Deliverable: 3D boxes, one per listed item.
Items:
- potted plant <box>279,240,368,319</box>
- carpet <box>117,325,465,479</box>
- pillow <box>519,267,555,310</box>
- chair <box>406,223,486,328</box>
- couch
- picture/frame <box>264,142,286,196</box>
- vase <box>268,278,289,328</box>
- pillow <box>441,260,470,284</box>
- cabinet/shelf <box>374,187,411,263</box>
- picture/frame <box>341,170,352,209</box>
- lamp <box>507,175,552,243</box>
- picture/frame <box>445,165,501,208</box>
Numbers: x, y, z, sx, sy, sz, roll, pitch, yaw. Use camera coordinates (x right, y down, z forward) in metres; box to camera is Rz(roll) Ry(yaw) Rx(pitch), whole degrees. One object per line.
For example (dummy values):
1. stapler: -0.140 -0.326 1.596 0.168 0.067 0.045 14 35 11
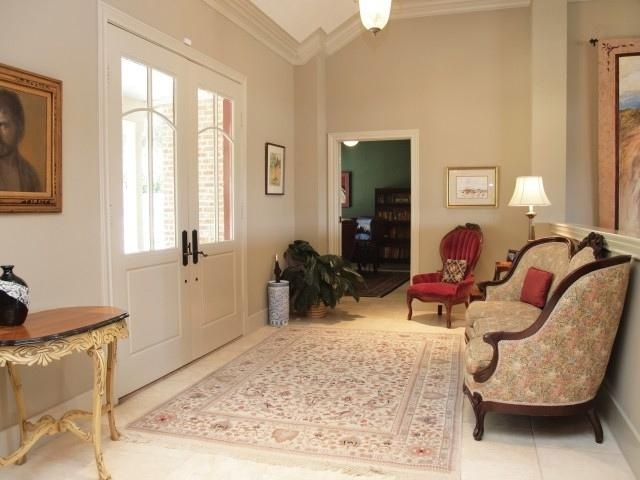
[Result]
1. potted plant: -0.062 0.582 6.475 0.812 1.074 1.108 -5 7 -42
2. carpet: 0.107 1.300 4.327 2.348 0.047 2.832 1 6 19
3. pillow: 1.948 0.439 4.090 0.265 0.329 0.147 17 -5 28
4. chair: 1.759 0.449 6.310 0.933 1.302 0.895 -1 3 -18
5. couch: 1.785 0.631 3.823 1.066 1.405 1.871 1 6 18
6. picture/frame: -0.638 -0.979 6.324 0.060 0.856 0.816 0 0 20
7. vase: -0.561 0.857 6.155 0.280 0.584 0.219 -1 6 -10
8. pillow: 1.857 0.431 6.319 0.100 0.310 0.308 26 -11 -38
9. cabinet/shelf: 1.726 -0.411 11.367 0.991 1.840 0.468 -7 -2 -15
10. picture/frame: 0.720 -1.323 11.989 0.272 0.961 0.059 1 6 18
11. lamp: 2.693 -0.401 5.858 0.470 0.835 0.884 2 6 26
12. picture/frame: 2.276 -0.782 6.695 0.629 0.546 0.050 0 0 13
